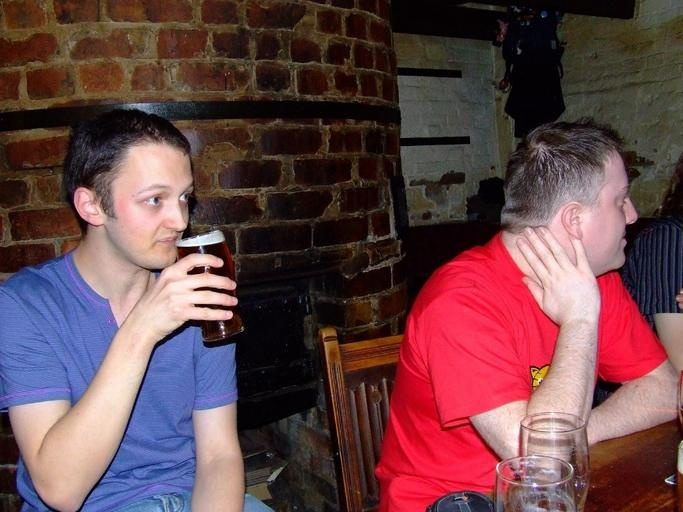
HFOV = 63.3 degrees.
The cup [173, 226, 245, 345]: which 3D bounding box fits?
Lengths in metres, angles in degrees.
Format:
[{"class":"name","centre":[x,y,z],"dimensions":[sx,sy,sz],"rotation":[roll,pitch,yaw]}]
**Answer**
[{"class":"cup","centre":[-0.375,0.100,1.576],"dimensions":[0.157,0.324,0.286],"rotation":[-4,0,-17]}]
